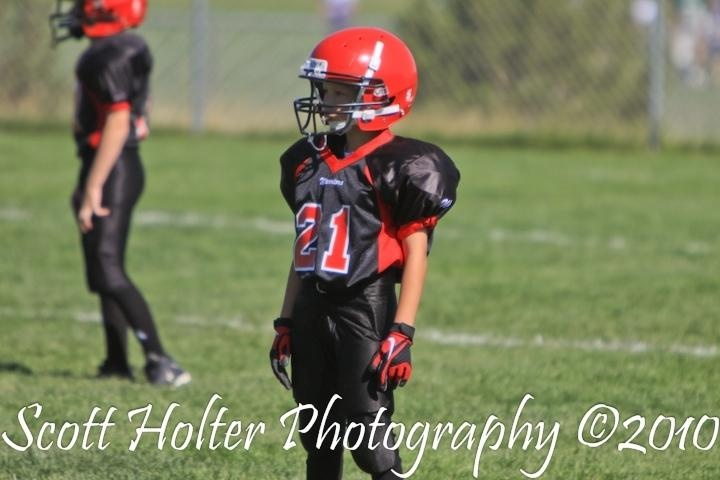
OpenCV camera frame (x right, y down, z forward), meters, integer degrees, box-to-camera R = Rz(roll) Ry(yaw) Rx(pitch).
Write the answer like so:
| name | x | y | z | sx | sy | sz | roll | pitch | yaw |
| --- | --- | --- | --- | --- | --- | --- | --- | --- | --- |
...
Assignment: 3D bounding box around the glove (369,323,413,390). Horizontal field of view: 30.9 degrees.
| name | x | y | z | sx | sy | sz | roll | pitch | yaw |
| --- | --- | --- | --- | --- | --- | --- | --- | --- | --- |
| glove | 0.205 | 0.720 | 8.100 | 0.274 | 0.392 | 0.183 | 17 | -1 | 0 |
